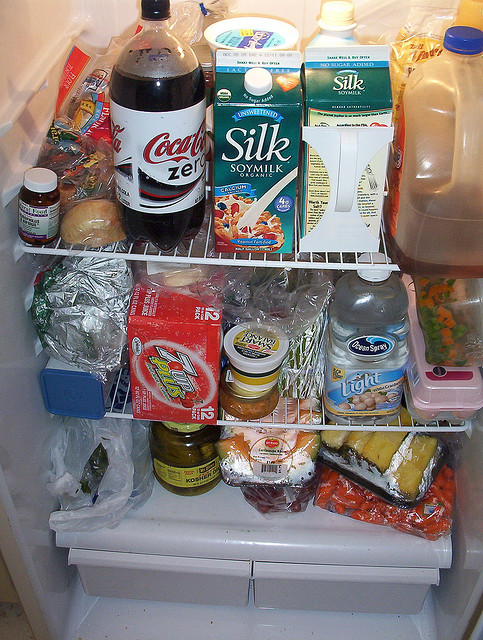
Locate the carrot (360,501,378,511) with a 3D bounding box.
[{"bbox_3d":[0.297,0.430,1.194,0.025,0.010,0.019,15,39,25],"label":"carrot"}]

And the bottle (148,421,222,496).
[{"bbox_3d":[-0.130,0.319,1.193,0.143,0.153,0.141,25,44,27],"label":"bottle"}]

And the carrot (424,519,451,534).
[{"bbox_3d":[0.437,0.460,1.141,0.047,0.018,0.027,-6,22,3],"label":"carrot"}]

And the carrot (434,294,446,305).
[{"bbox_3d":[0.338,-0.034,0.879,0.004,0.016,0.020,-29,42,-33],"label":"carrot"}]

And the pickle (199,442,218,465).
[{"bbox_3d":[-0.080,0.310,1.195,0.040,0.040,0.038,-32,43,-31],"label":"pickle"}]

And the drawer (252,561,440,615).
[{"bbox_3d":[0.236,0.642,1.199,0.417,0.228,0.042,-2,34,1],"label":"drawer"}]

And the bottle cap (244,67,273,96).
[{"bbox_3d":[0.021,-0.309,0.665,0.037,0.029,0.034,0,34,4],"label":"bottle cap"}]

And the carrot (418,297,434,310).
[{"bbox_3d":[0.325,-0.031,0.897,0.005,0.017,0.018,10,-5,-26],"label":"carrot"}]

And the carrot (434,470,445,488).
[{"bbox_3d":[0.465,0.369,1.193,0.022,0.020,0.036,23,42,33],"label":"carrot"}]

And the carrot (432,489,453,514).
[{"bbox_3d":[0.459,0.410,1.166,0.044,0.011,0.046,21,26,-35],"label":"carrot"}]

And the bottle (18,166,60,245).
[{"bbox_3d":[-0.312,-0.171,0.786,0.082,0.100,0.080,2,36,-23],"label":"bottle"}]

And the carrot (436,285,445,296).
[{"bbox_3d":[0.339,-0.051,0.876,0.014,0.014,0.014,40,11,20],"label":"carrot"}]

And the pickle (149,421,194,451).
[{"bbox_3d":[-0.165,0.272,1.190,0.071,0.066,0.070,-20,39,-34],"label":"pickle"}]

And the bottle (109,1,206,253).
[{"bbox_3d":[-0.109,-0.258,0.756,0.145,0.328,0.143,1,49,-1],"label":"bottle"}]

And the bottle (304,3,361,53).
[{"bbox_3d":[0.133,-0.420,0.732,0.075,0.053,0.131,4,34,10],"label":"bottle"}]

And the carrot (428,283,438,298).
[{"bbox_3d":[0.331,-0.051,0.884,0.006,0.019,0.012,0,44,-21],"label":"carrot"}]

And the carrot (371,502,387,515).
[{"bbox_3d":[0.318,0.437,1.185,0.025,0.014,0.013,-29,6,14],"label":"carrot"}]

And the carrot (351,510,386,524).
[{"bbox_3d":[0.292,0.454,1.184,0.084,0.023,0.025,10,6,20],"label":"carrot"}]

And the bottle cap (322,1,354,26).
[{"bbox_3d":[0.144,-0.457,0.763,0.045,0.029,0.052,14,37,23],"label":"bottle cap"}]

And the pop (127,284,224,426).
[{"bbox_3d":[-0.116,0.062,1.005,0.186,0.232,0.147,3,29,3],"label":"pop"}]

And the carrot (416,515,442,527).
[{"bbox_3d":[0.413,0.445,1.142,0.037,0.009,0.022,-12,16,-8],"label":"carrot"}]

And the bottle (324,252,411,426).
[{"bbox_3d":[0.220,0.055,1.008,0.121,0.362,0.139,-6,44,-7],"label":"bottle"}]

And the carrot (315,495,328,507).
[{"bbox_3d":[0.190,0.432,1.217,0.026,0.026,0.016,27,26,31],"label":"carrot"}]

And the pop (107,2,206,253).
[{"bbox_3d":[-0.106,-0.243,0.753,0.147,0.317,0.161,1,44,-1],"label":"pop"}]

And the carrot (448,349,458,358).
[{"bbox_3d":[0.378,0.060,0.918,0.015,0.014,0.025,4,-12,10],"label":"carrot"}]

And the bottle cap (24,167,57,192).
[{"bbox_3d":[-0.297,-0.207,0.753,0.039,0.009,0.039,19,48,-2],"label":"bottle cap"}]

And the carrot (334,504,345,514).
[{"bbox_3d":[0.229,0.443,1.203,0.011,0.008,0.023,-21,41,-41],"label":"carrot"}]

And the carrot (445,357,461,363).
[{"bbox_3d":[0.385,0.072,0.932,0.006,0.008,0.028,-7,-8,-39],"label":"carrot"}]

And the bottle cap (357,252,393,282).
[{"bbox_3d":[0.224,-0.082,0.832,0.051,0.027,0.051,0,55,5],"label":"bottle cap"}]

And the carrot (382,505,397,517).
[{"bbox_3d":[0.337,0.438,1.175,0.030,0.017,0.017,-16,36,-18],"label":"carrot"}]

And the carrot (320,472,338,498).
[{"bbox_3d":[0.209,0.396,1.231,0.052,0.013,0.028,-51,23,-25],"label":"carrot"}]

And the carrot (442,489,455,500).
[{"bbox_3d":[0.476,0.398,1.177,0.023,0.042,0.023,-4,53,34],"label":"carrot"}]
